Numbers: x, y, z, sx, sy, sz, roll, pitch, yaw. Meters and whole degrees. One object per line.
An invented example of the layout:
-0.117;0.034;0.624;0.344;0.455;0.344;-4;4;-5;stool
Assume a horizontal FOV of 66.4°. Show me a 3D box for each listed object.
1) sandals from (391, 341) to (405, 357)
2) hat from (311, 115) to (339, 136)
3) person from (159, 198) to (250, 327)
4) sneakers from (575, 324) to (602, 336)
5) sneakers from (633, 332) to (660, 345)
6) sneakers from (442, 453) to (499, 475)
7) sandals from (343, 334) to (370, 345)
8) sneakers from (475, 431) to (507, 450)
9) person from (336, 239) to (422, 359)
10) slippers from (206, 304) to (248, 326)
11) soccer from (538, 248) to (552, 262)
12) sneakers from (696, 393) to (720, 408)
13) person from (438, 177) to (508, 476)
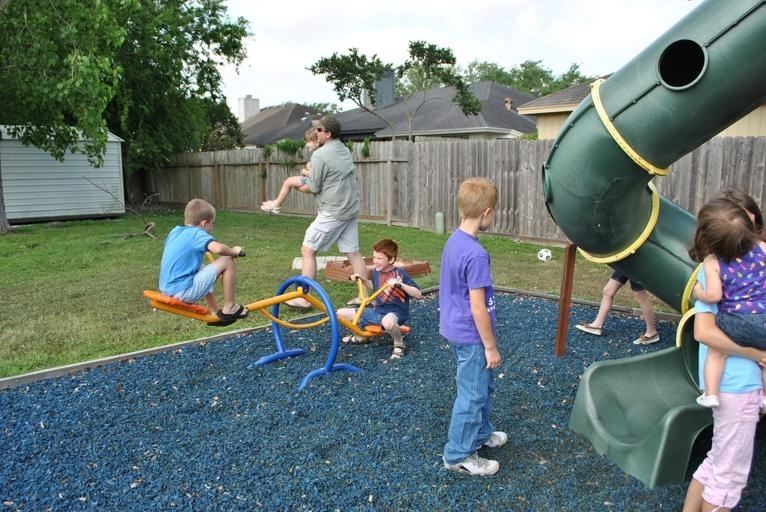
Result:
0.154;0.939;5.911;0.138;0.132;0.212;1;10;0;sandals
-0.694;-1.565;7.116;0.309;0.173;0.234;19;26;-5;hat
-1.708;0.076;5.605;0.853;1.205;0.643;-7;4;-39;person
2.256;0.809;6.428;0.251;0.100;0.105;8;0;29;sneakers
2.763;0.875;6.122;0.217;0.085;0.131;-6;3;-1;sneakers
0.660;1.555;4.433;0.402;0.186;0.162;-1;4;4;sneakers
-0.286;0.889;6.200;0.252;0.071;0.111;5;0;1;sandals
0.845;1.449;4.629;0.260;0.126;0.106;-18;27;-4;sneakers
-0.031;0.397;6.036;0.862;1.147;0.578;3;11;12;person
-1.472;0.582;5.673;0.428;0.175;0.168;-4;4;-42;slippers
2.015;0.004;7.291;0.203;0.168;0.208;-1;10;-10;soccer
2.150;0.965;3.863;0.122;0.101;0.134;8;12;34;sneakers
0.647;0.532;4.313;0.422;2.162;0.410;-2;11;-12;person
